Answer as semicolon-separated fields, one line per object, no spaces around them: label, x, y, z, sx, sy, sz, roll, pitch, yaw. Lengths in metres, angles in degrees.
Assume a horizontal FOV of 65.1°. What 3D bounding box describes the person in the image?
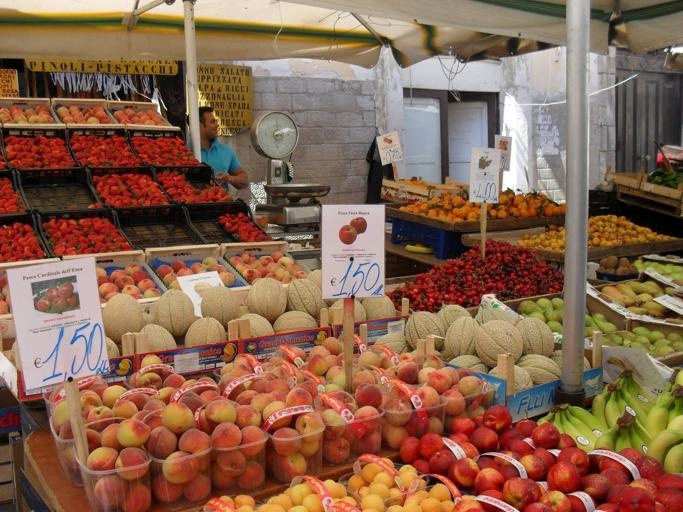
person;-1.419;-1.222;6.466;0.611;1.061;0.542;-4;18;-30
